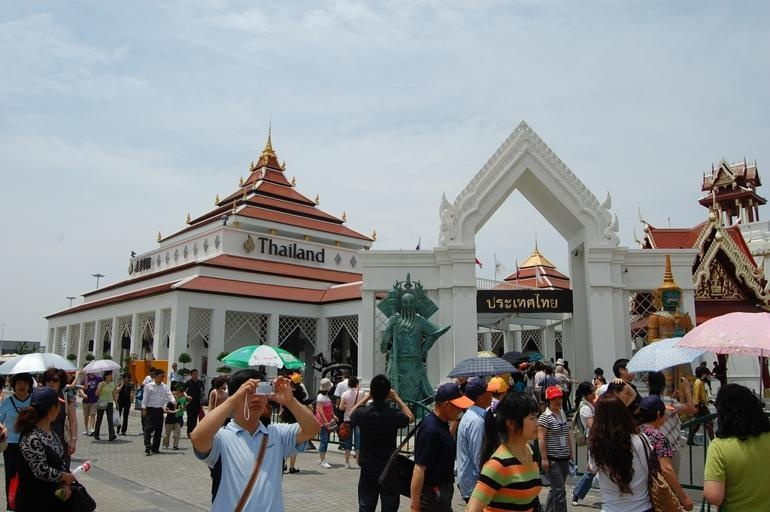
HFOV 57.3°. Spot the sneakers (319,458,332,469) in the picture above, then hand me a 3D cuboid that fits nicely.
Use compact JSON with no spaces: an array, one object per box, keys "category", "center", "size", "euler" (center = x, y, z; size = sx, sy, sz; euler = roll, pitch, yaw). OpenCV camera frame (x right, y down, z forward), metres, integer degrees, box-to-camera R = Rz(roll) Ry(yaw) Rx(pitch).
[{"category":"sneakers","center":[-1.346,4.801,16.150],"size":[0.310,0.124,0.117],"euler":[7,-7,-44]}]

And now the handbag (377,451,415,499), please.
[{"category":"handbag","center":[0.139,2.972,9.493],"size":[0.564,0.540,0.235],"euler":[38,-22,-34]}]

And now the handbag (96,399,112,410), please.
[{"category":"handbag","center":[-7.888,4.206,19.876],"size":[0.411,0.288,0.168],"euler":[0,-11,-7]}]

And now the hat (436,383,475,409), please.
[{"category":"hat","center":[0.943,1.897,9.469],"size":[0.479,0.233,0.322],"euler":[2,-4,4]}]

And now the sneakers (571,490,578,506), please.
[{"category":"sneakers","center":[3.397,4.347,12.595],"size":[0.133,0.265,0.400],"euler":[-4,-12,14]}]

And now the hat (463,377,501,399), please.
[{"category":"hat","center":[1.414,1.971,10.231],"size":[0.498,0.205,0.315],"euler":[-13,15,-18]}]

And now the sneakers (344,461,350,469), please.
[{"category":"sneakers","center":[-0.853,4.801,16.061],"size":[0.089,0.107,0.241],"euler":[-2,-23,-1]}]

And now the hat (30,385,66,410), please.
[{"category":"hat","center":[-4.613,1.918,9.554],"size":[0.311,0.255,0.287],"euler":[4,-13,-25]}]

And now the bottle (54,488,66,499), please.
[{"category":"bottle","center":[-4.102,3.031,8.945],"size":[0.136,0.101,0.073],"euler":[15,-1,42]}]

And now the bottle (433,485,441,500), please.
[{"category":"bottle","center":[0.682,3.116,9.237],"size":[0.122,0.209,0.122],"euler":[-1,-16,0]}]

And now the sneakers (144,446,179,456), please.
[{"category":"sneakers","center":[-5.708,5.004,17.982],"size":[0.570,0.149,0.136],"euler":[6,-29,3]}]

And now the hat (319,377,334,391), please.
[{"category":"hat","center":[-1.433,3.118,16.979],"size":[0.356,0.191,0.373],"euler":[-12,10,-2]}]
